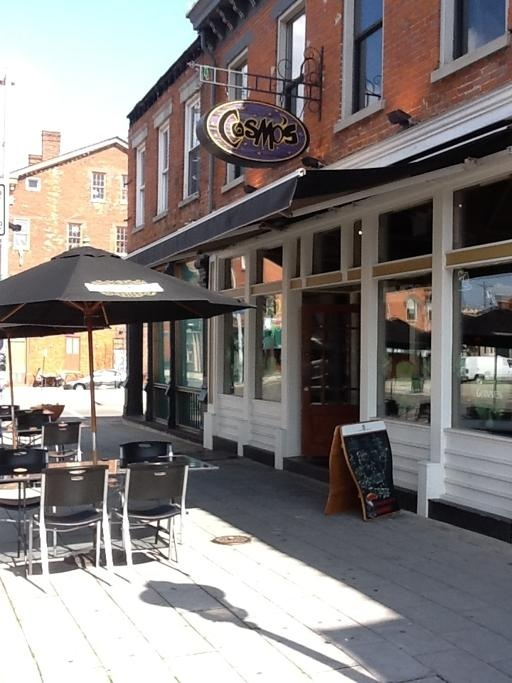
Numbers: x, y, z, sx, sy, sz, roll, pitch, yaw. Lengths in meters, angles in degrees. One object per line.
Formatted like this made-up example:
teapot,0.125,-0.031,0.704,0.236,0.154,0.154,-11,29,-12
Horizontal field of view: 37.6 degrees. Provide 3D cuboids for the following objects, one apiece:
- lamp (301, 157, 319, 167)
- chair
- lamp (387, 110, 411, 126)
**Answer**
lamp,0.672,-2.187,9.204,0.136,0.097,0.179,2,4,-1
chair,-1.190,1.318,5.968,1.337,0.746,0.998,1,-7,-22
lamp,1.423,-2.193,7.444,0.195,0.172,0.203,0,-1,-15
